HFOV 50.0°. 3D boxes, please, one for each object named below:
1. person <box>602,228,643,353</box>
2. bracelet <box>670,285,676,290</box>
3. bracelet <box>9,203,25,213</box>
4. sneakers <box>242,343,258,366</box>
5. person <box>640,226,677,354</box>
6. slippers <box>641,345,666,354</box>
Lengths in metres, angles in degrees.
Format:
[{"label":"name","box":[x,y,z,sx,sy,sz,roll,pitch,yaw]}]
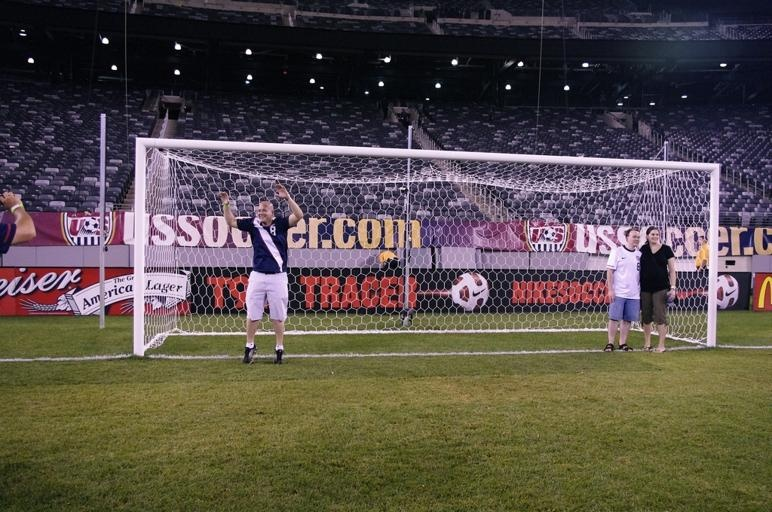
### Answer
[{"label":"person","box":[5.823,0.815,20.281,0.872,3.011,0.435,-1,-3,12]},{"label":"bracelet","box":[7.014,0.749,20.173,0.144,0.112,0.073,1,-3,-22]},{"label":"bracelet","box":[-7.563,-1.020,17.046,0.226,0.086,0.222,-30,8,-24]},{"label":"sneakers","box":[-3.127,2.287,19.297,0.181,0.486,0.258,-1,-18,23]},{"label":"person","box":[6.658,0.824,20.284,0.820,3.057,0.570,-1,-3,16]},{"label":"slippers","box":[6.563,2.267,20.259,0.464,0.107,0.191,6,-9,-19]}]
